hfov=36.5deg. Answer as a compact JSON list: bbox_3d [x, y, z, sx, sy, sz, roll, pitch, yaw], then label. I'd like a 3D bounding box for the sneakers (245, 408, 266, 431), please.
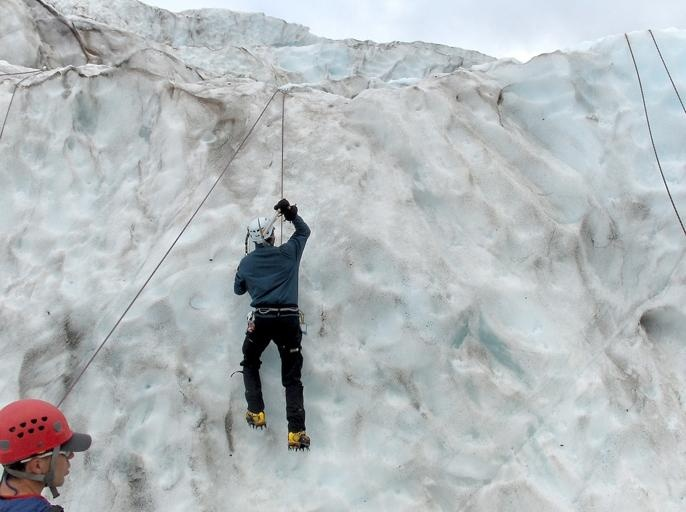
[{"bbox_3d":[-1.197,2.328,14.765,0.228,0.283,0.258,22,48,-49],"label":"sneakers"}]

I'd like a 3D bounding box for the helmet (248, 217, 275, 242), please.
[{"bbox_3d":[-1.145,-0.399,15.044,0.281,0.352,0.376,1,30,19],"label":"helmet"}]

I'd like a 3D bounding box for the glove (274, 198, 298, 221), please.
[{"bbox_3d":[-0.811,-0.672,15.101,0.338,0.260,0.161,34,15,-29],"label":"glove"}]
